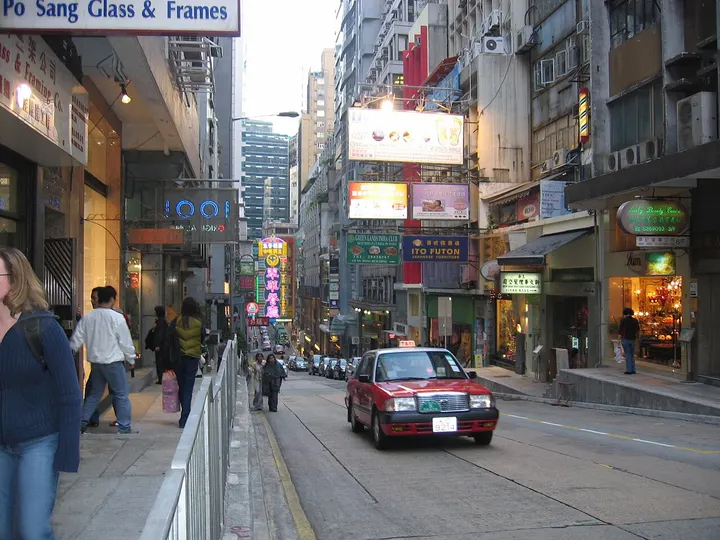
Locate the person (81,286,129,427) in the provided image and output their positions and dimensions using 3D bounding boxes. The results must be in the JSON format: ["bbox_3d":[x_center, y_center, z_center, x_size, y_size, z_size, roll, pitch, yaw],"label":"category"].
[{"bbox_3d":[-4.000,1.348,12.916,0.911,2.361,0.554,4,13,-2],"label":"person"}]

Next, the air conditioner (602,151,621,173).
[{"bbox_3d":[7.067,-2.997,23.207,0.253,0.810,0.787,1,-4,-4],"label":"air conditioner"}]

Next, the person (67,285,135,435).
[{"bbox_3d":[-3.946,1.341,12.990,0.729,2.473,1.099,0,-1,-7],"label":"person"}]

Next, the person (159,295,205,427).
[{"bbox_3d":[-2.846,1.523,13.657,0.588,2.145,0.890,1,-5,-13],"label":"person"}]

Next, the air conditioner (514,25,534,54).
[{"bbox_3d":[6.793,-9.525,34.228,0.381,1.041,1.134,1,-4,-9],"label":"air conditioner"}]

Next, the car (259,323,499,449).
[{"bbox_3d":[0.947,2.237,14.925,2.195,1.933,3.530,1,1,-18],"label":"car"}]

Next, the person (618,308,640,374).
[{"bbox_3d":[7.388,1.947,22.716,0.464,1.812,0.906,-2,-5,19],"label":"person"}]

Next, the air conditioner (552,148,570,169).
[{"bbox_3d":[7.157,-3.891,29.285,0.331,0.606,1.161,0,-7,-2],"label":"air conditioner"}]

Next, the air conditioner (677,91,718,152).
[{"bbox_3d":[7.785,-3.419,19.247,0.374,1.212,1.034,2,-6,-26],"label":"air conditioner"}]
